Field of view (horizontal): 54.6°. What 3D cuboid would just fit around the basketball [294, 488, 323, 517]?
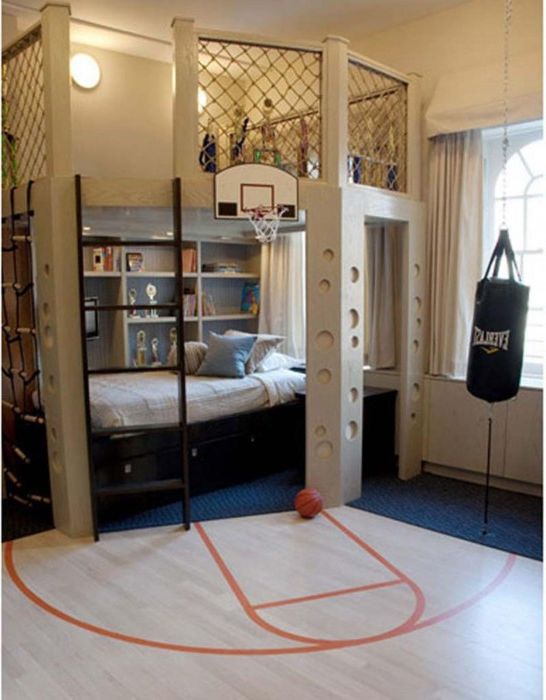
[{"bbox_3d":[0.235,0.992,3.398,0.135,0.181,0.163,5,-22,-15],"label":"basketball"}]

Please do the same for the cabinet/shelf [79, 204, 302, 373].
[{"bbox_3d":[-0.422,-0.439,4.134,1.332,1.110,2.336,0,4,3],"label":"cabinet/shelf"}]

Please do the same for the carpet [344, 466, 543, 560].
[{"bbox_3d":[1.247,1.075,3.639,1.190,0.038,1.009,3,6,37],"label":"carpet"}]

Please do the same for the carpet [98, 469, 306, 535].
[{"bbox_3d":[-0.357,1.068,3.680,1.526,0.046,0.715,-3,5,-28],"label":"carpet"}]
